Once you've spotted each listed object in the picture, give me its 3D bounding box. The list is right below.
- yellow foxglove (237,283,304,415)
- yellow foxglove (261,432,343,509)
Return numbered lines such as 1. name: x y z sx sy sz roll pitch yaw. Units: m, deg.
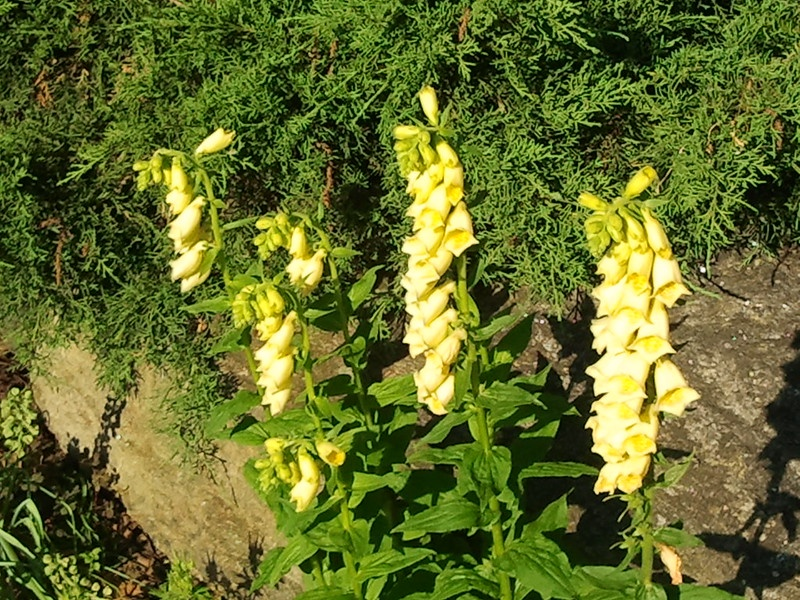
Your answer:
1. yellow foxglove: -0.565 0.193 3.545 0.370 0.521 0.162 -13 24 -5
2. yellow foxglove: -0.383 0.693 3.482 0.314 0.387 0.152 -55 21 31
